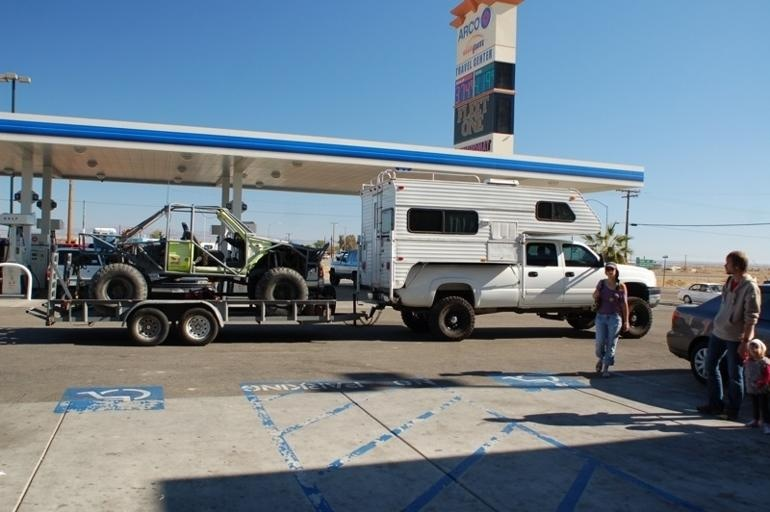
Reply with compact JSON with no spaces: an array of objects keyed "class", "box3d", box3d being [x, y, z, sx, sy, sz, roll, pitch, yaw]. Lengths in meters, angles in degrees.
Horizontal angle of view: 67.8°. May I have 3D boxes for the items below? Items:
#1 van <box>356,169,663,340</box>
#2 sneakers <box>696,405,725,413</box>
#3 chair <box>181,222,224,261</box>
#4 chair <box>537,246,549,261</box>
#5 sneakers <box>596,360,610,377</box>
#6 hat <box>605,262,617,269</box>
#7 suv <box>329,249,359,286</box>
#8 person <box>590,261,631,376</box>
[{"class":"van","box3d":[3.531,0.125,16.408,8.634,4.063,3.653,1,1,-20]},{"class":"sneakers","box3d":[4.979,2.322,8.763,0.370,0.146,0.139,0,1,18]},{"class":"chair","box3d":[-4.318,-0.290,13.633,1.023,0.917,0.591,-4,9,-27]},{"class":"chair","box3d":[4.120,-0.078,15.008,0.426,0.357,0.210,1,-3,-17]},{"class":"sneakers","box3d":[4.164,2.140,11.044,0.167,0.192,0.516,-3,-7,7]},{"class":"hat","box3d":[4.348,0.186,11.018,0.207,0.085,0.312,-1,-6,20]},{"class":"suv","box3d":[-2.436,0.611,34.793,1.826,1.660,3.106,0,5,-13]},{"class":"person","box3d":[4.261,1.219,10.865,0.614,2.130,0.389,4,4,18]}]
